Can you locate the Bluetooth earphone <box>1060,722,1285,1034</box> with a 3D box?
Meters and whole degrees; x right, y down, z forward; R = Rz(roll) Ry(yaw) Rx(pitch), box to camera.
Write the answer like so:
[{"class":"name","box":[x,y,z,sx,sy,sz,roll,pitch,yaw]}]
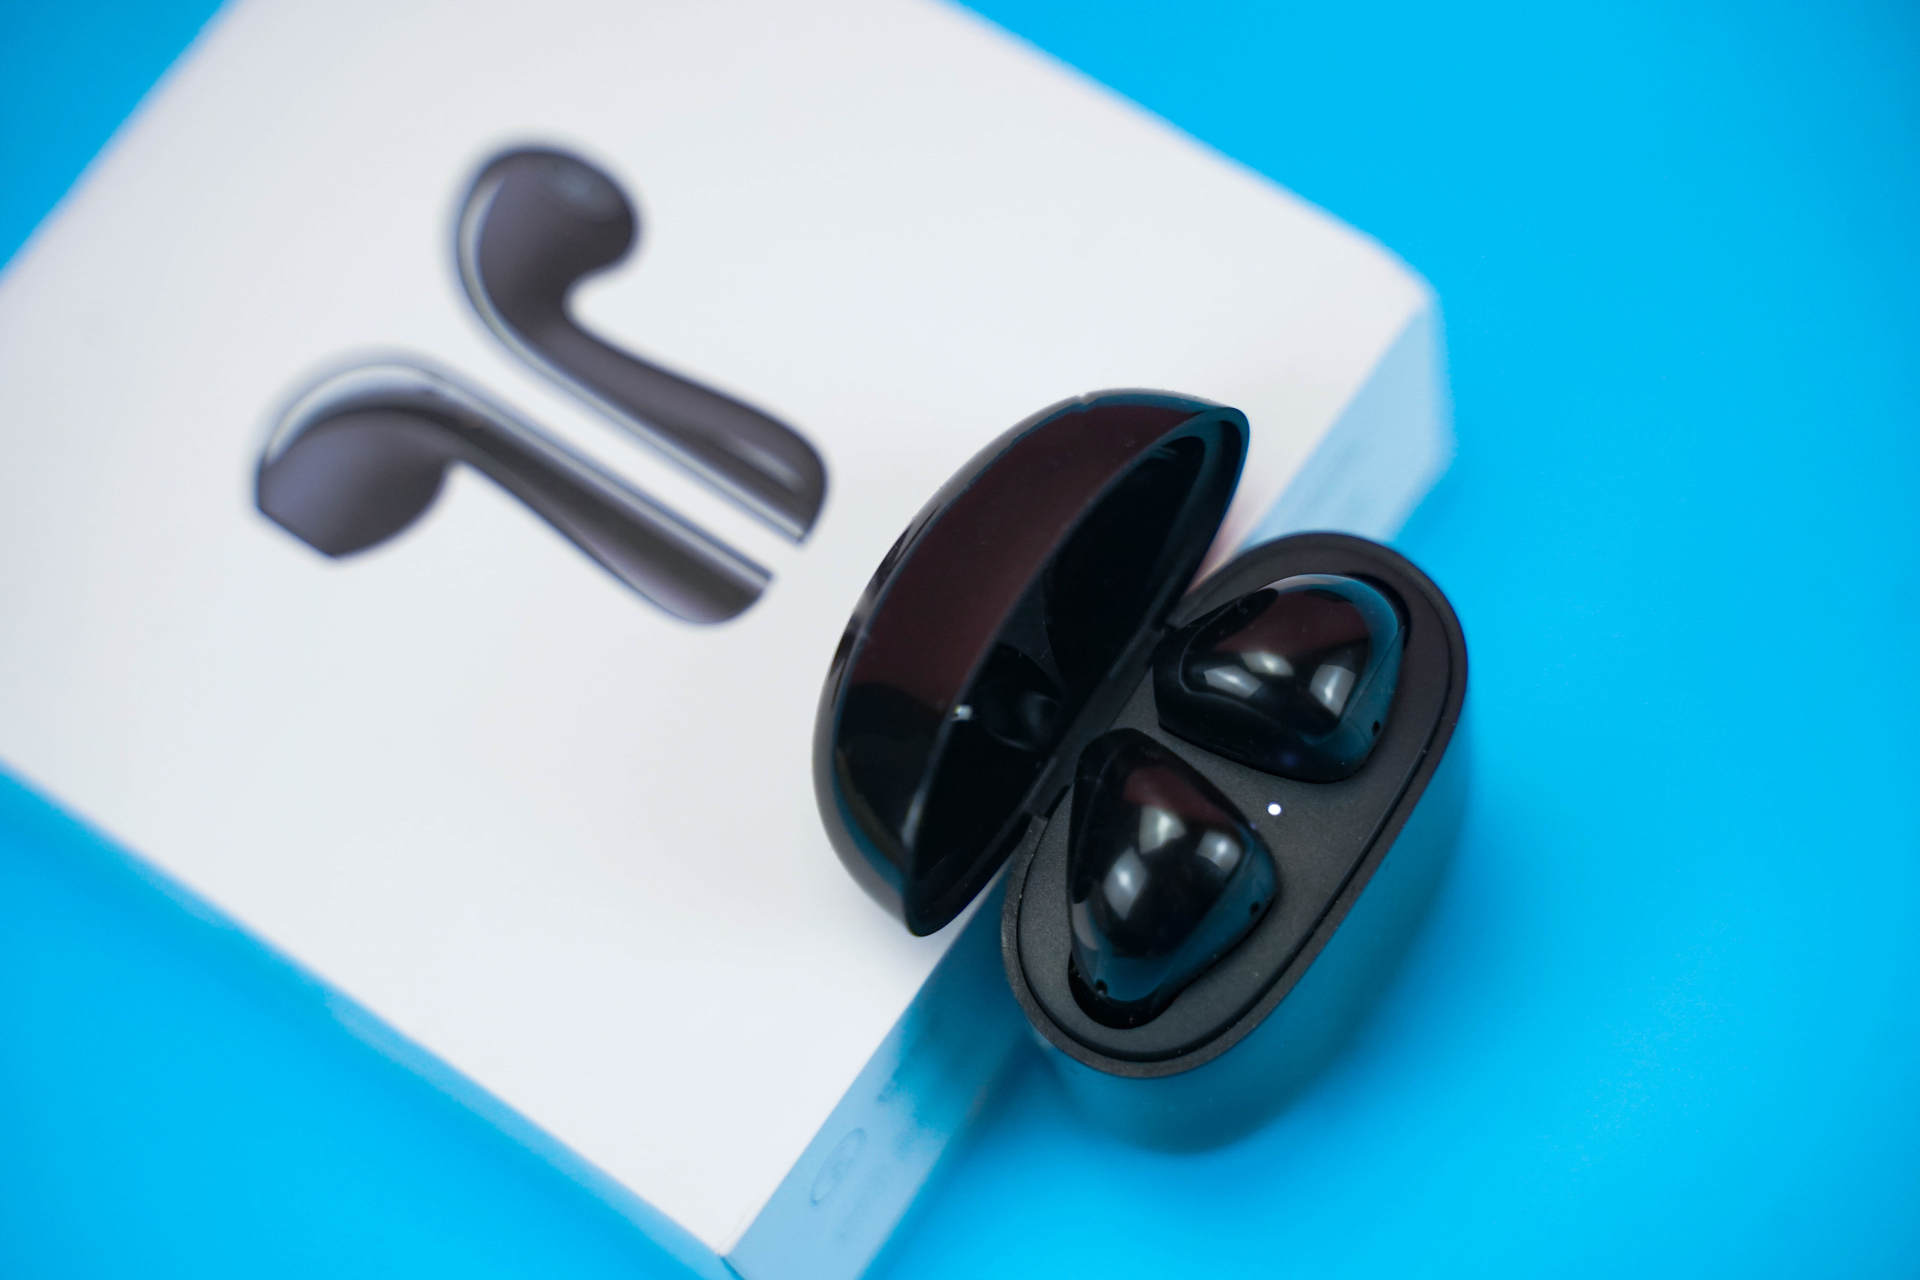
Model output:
[{"class":"Bluetooth earphone","box":[0.083,0.095,0.941,0.123,0.123,0.034,-31,-17,-23]}]
